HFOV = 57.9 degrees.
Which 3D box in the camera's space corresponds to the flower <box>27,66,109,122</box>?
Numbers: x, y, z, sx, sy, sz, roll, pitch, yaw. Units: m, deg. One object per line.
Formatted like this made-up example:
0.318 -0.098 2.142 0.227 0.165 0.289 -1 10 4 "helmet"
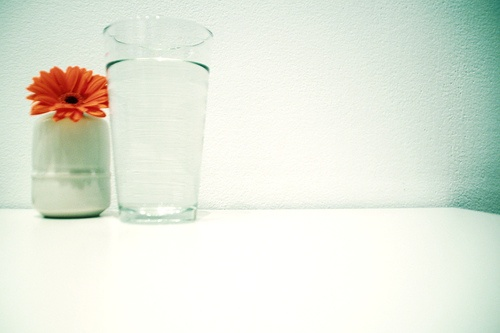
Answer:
-0.302 -0.124 0.782 0.149 0.099 0.055 1 0 6 "flower"
